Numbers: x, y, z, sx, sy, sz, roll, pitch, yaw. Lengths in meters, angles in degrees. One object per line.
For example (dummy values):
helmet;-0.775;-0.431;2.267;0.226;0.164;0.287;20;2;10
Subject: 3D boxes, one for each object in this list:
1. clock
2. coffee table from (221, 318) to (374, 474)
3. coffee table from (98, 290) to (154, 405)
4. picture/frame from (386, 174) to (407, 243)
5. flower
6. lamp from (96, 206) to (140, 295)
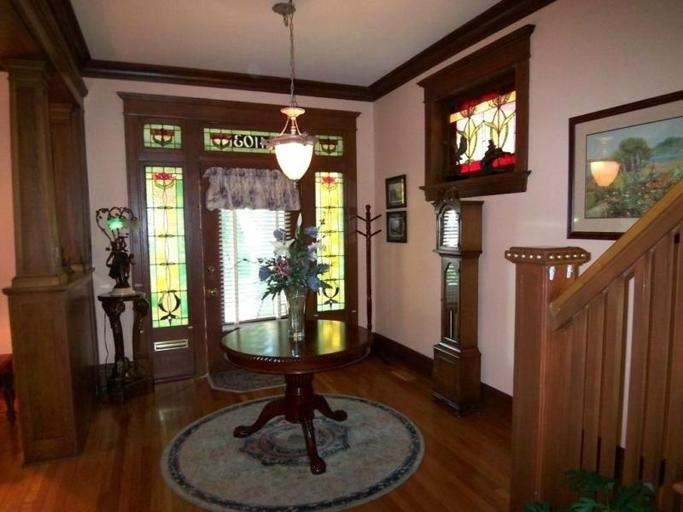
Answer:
clock;1.044;0.381;4.858;0.417;1.858;0.632;1;12;10
coffee table;-0.387;0.949;4.309;1.086;0.770;1.092;-4;7;-26
coffee table;-2.098;0.800;5.329;0.410;1.043;0.676;-4;12;-12
picture/frame;0.617;-0.532;6.132;0.098;0.783;0.494;-4;12;-17
flower;-0.525;0.011;5.141;0.615;0.774;0.553;8;-36;-18
lamp;-2.170;-0.057;5.326;0.384;0.816;0.631;-6;13;-25
